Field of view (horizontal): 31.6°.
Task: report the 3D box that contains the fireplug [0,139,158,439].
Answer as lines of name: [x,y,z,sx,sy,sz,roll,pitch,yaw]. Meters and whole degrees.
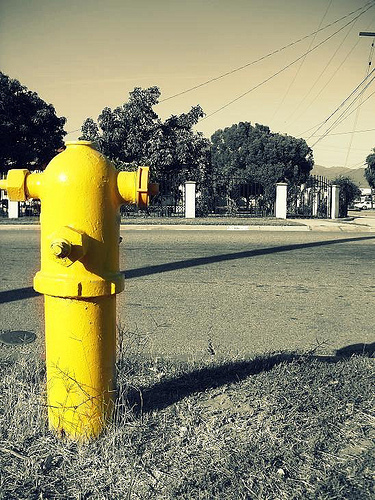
fireplug: [-0.480,0.169,2.956,0.693,1.324,0.430,0,4,-3]
